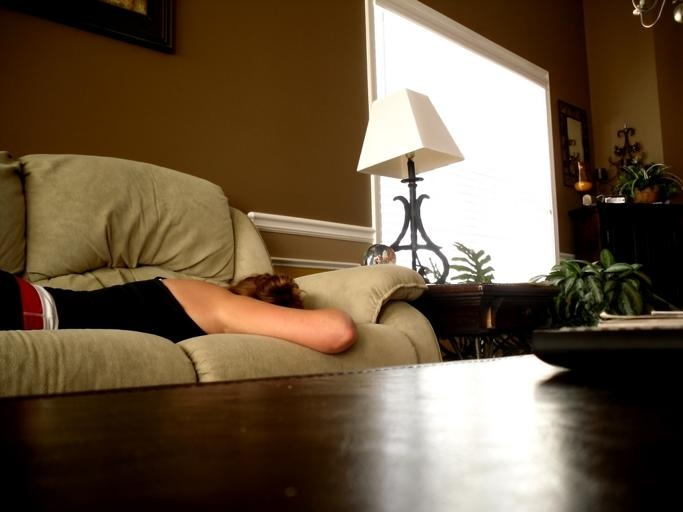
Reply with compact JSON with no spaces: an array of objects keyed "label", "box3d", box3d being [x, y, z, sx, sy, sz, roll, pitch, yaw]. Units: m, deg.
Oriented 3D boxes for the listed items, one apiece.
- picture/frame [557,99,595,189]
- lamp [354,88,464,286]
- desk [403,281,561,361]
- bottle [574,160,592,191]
[{"label":"picture/frame","box3d":[1.846,-0.866,4.420,0.666,1.014,0.043,5,-6,-43]},{"label":"lamp","box3d":[0.306,-0.279,2.423,0.438,0.808,0.452,-1,-8,-7]},{"label":"desk","box3d":[0.563,0.320,2.167,0.369,0.445,0.641,-1,-1,43]},{"label":"bottle","box3d":[1.888,-0.628,4.375,0.111,0.231,0.095,-4,-4,35]}]
